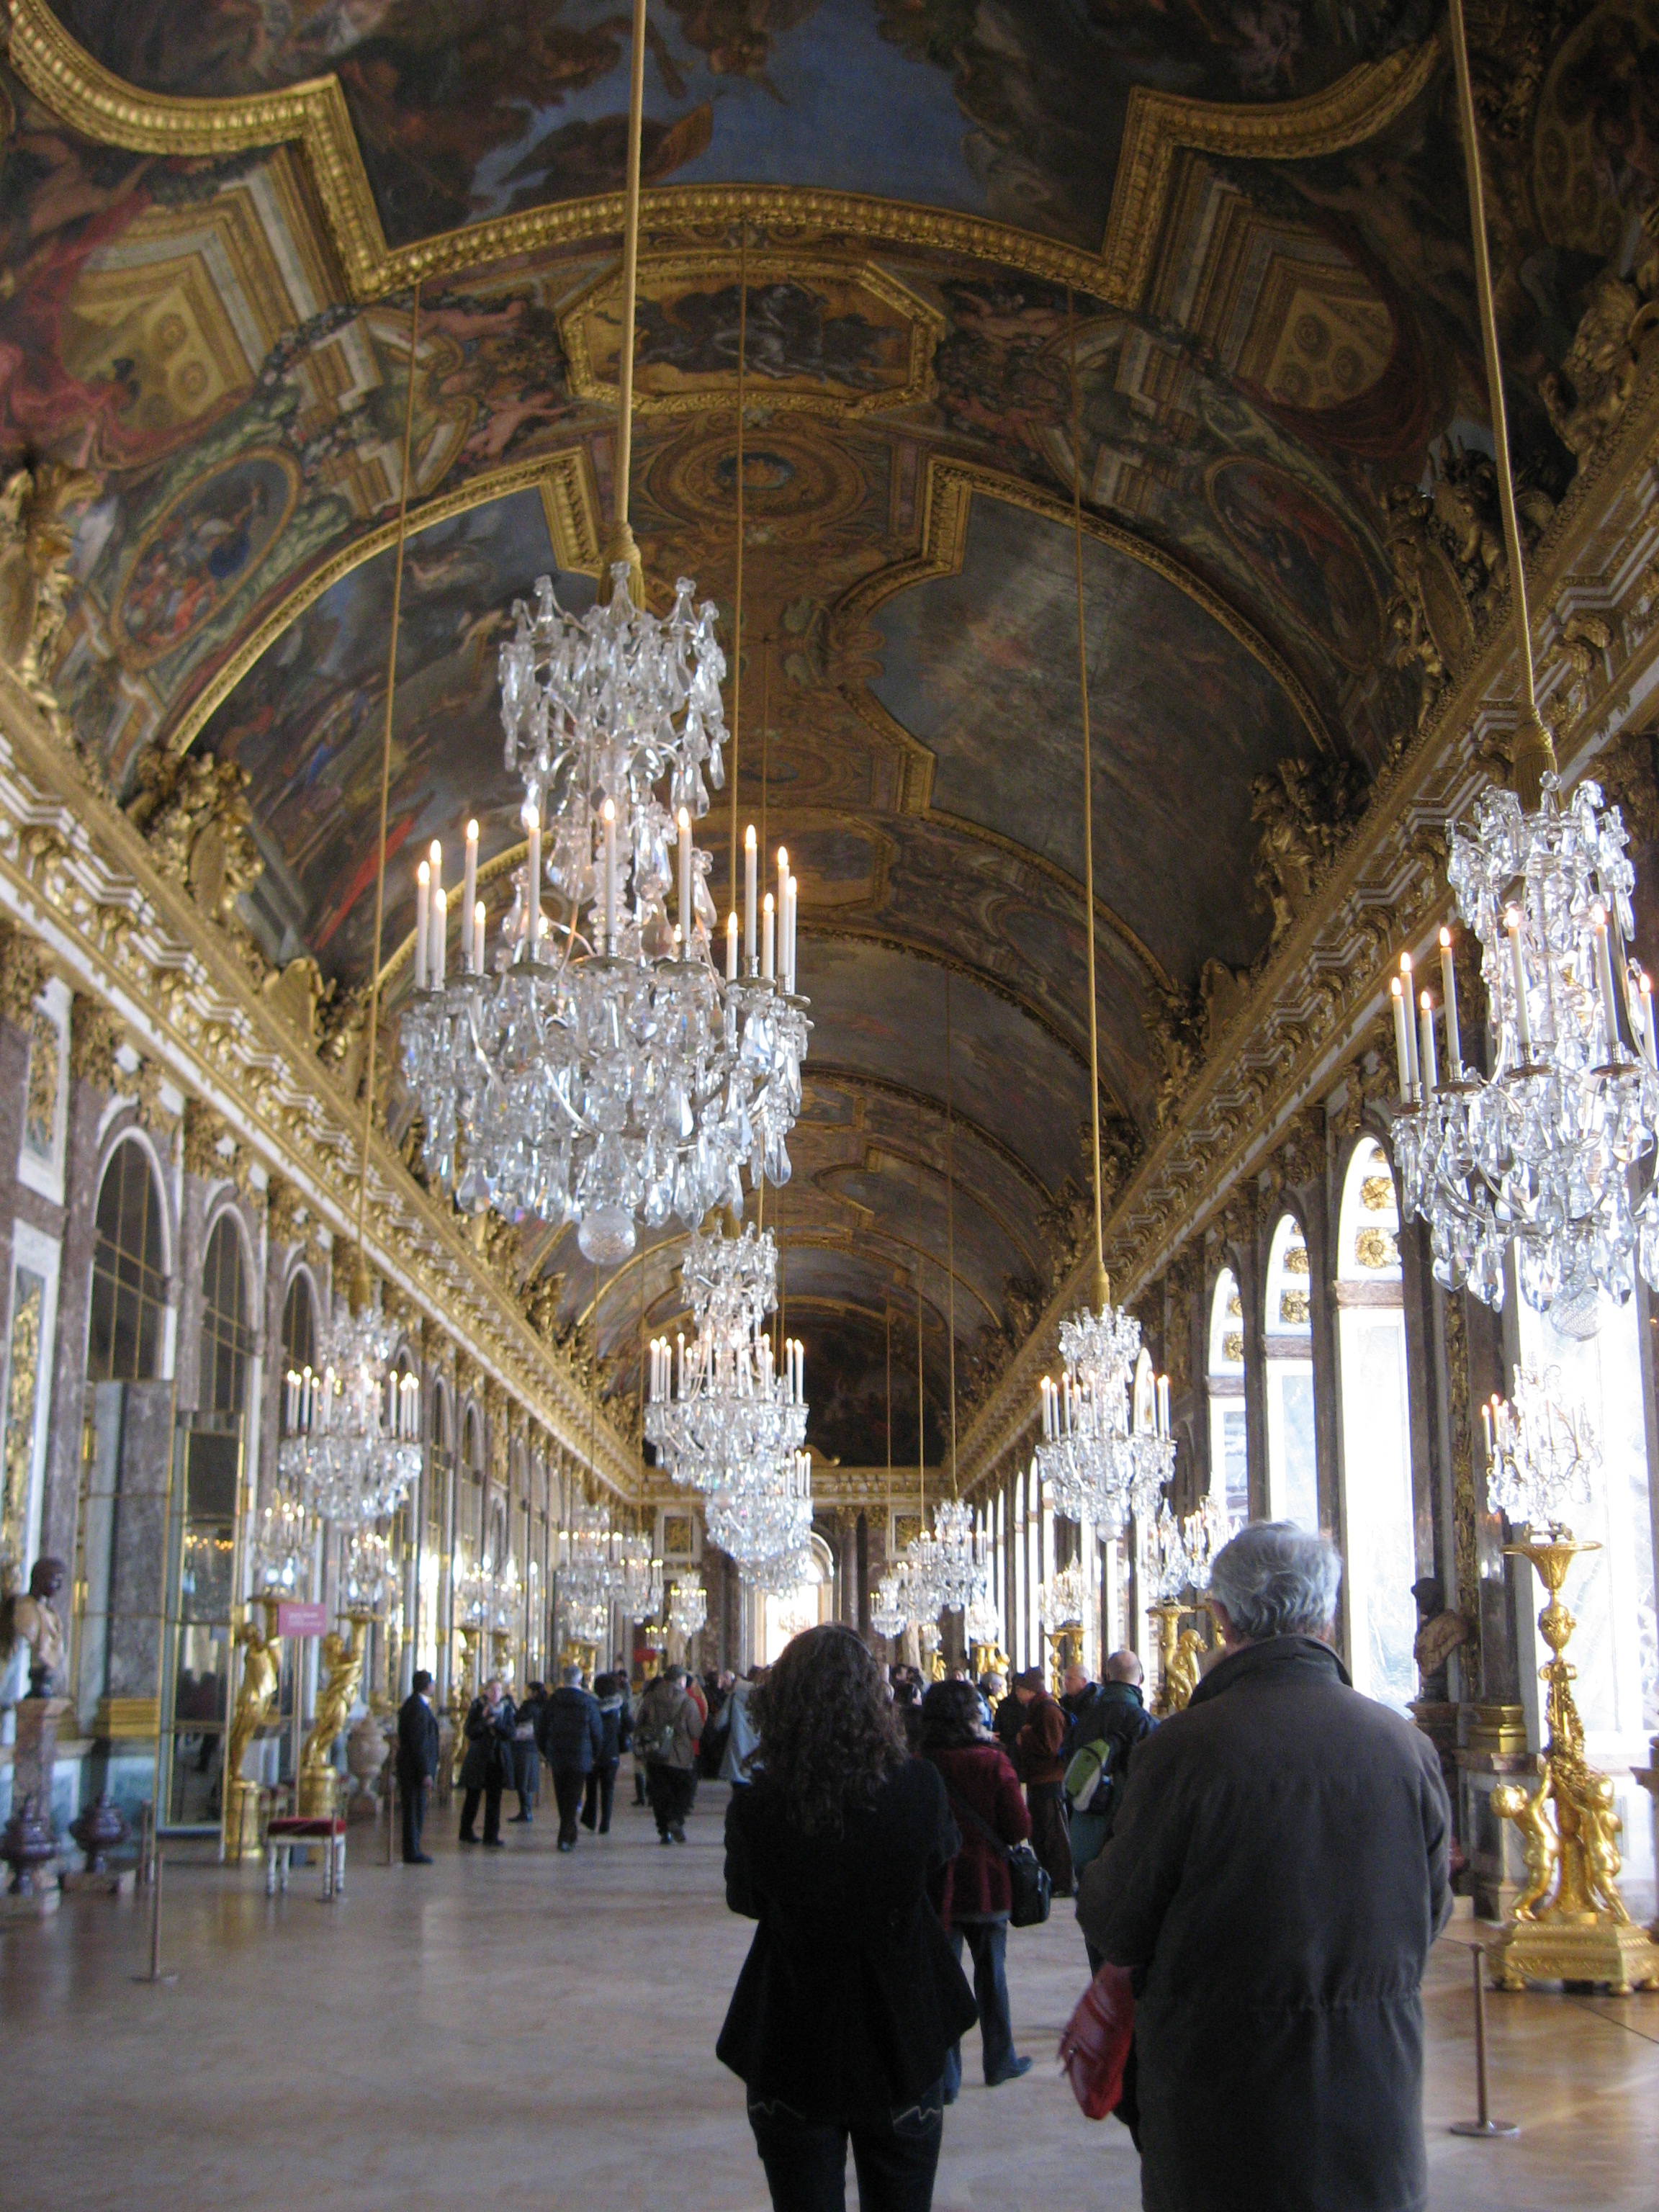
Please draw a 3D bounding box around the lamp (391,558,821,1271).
[{"bbox_3d":[-0.735,-0.826,6.436,1.382,2.744,1.128,4,-16,-15],"label":"lamp"}]

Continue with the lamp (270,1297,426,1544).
[{"bbox_3d":[-3.818,2.431,14.985,1.002,1.755,1.889,4,-18,-16],"label":"lamp"}]

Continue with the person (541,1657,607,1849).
[{"bbox_3d":[-2.536,6.349,18.500,0.539,1.805,0.530,3,2,12],"label":"person"}]
